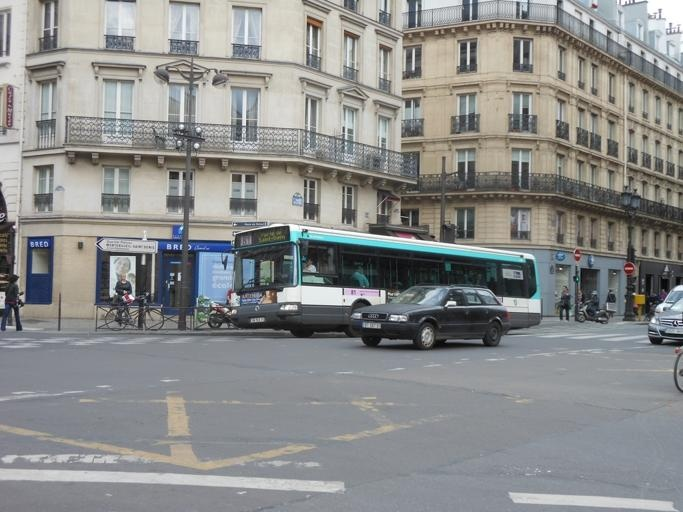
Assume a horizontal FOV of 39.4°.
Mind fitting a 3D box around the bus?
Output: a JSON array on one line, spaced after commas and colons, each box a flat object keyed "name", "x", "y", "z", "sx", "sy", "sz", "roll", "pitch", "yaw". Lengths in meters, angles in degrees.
[{"name": "bus", "x": 2.524, "y": 0.983, "z": 34.017, "sx": 13.472, "sy": 3.663, "sz": 3.705, "roll": 3, "pitch": -6, "yaw": -42}]

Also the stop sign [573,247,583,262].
[{"name": "stop sign", "x": 12.808, "y": -0.164, "z": 51.814, "sx": 0.091, "sy": 0.833, "sz": 0.829, "roll": -2, "pitch": 3, "yaw": 25}]

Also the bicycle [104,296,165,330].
[{"name": "bicycle", "x": -6.892, "y": 1.864, "z": 32.448, "sx": 2.082, "sy": 1.250, "sz": 0.905, "roll": 0, "pitch": 0, "yaw": -2}]

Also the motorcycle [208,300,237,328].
[{"name": "motorcycle", "x": -4.111, "y": 2.019, "z": 32.924, "sx": 1.409, "sy": 0.834, "sz": 0.687, "roll": 7, "pitch": -6, "yaw": -26}]

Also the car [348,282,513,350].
[{"name": "car", "x": 2.512, "y": 1.601, "z": 26.420, "sx": 4.076, "sy": 1.353, "sz": 1.789, "roll": 6, "pitch": -7, "yaw": -43}]

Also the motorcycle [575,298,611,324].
[{"name": "motorcycle", "x": 12.302, "y": 2.648, "z": 46.742, "sx": 1.359, "sy": 1.089, "sz": 1.657, "roll": 0, "pitch": 3, "yaw": -9}]
